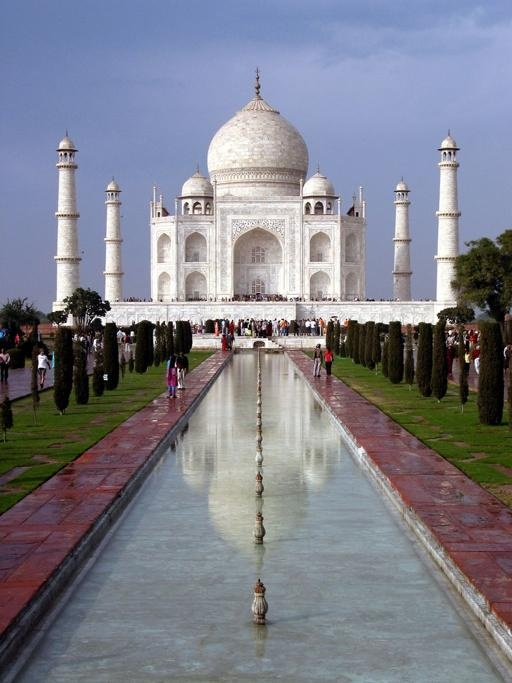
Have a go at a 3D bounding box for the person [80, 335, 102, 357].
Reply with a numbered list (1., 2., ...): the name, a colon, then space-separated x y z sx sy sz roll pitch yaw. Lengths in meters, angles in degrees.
1. person: -4.734 0.137 23.728 0.699 0.431 0.872 1 -2 -13
